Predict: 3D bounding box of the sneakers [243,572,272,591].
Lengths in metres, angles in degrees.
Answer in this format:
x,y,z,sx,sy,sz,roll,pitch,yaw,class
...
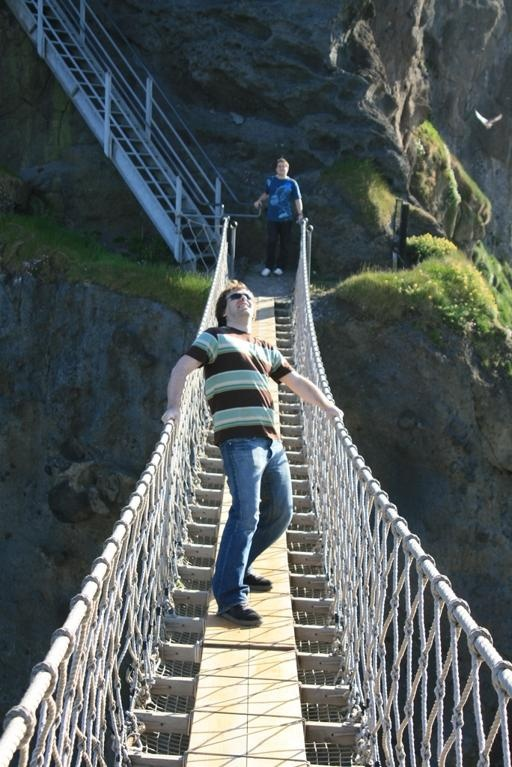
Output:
x,y,z,sx,sy,sz,roll,pitch,yaw,class
-0.002,1.293,8.683,0.208,0.095,0.081,2,6,22,sneakers

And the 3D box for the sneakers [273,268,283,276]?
x,y,z,sx,sy,sz,roll,pitch,yaw,class
0.230,-1.188,14.923,0.079,0.067,0.137,0,1,2,sneakers

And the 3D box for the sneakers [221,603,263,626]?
x,y,z,sx,sy,sz,roll,pitch,yaw,class
-0.090,1.456,8.381,0.254,0.126,0.111,6,6,14,sneakers

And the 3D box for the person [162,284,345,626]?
x,y,z,sx,sy,sz,roll,pitch,yaw,class
-0.073,0.394,8.496,0.675,2.042,1.117,-19,-39,37,person
